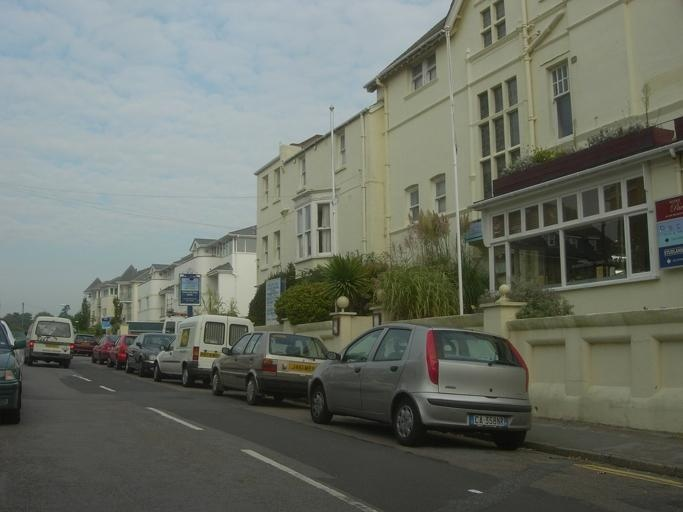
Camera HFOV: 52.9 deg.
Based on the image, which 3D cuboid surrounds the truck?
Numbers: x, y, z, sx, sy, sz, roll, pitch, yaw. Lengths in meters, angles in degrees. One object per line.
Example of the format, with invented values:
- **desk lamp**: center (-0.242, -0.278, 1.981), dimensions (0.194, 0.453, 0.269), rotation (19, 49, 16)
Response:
- **truck**: center (-4.985, 3.286, 24.015), dimensions (2.081, 1.869, 3.863), rotation (4, -8, -26)

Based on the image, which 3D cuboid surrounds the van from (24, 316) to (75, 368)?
- **van**: center (-14.154, 4.147, 33.496), dimensions (2.001, 2.391, 0.860), rotation (2, -9, -13)

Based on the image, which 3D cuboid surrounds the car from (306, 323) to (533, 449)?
- **car**: center (1.327, 2.335, 12.614), dimensions (3.880, 2.246, 1.597), rotation (-10, -13, 43)

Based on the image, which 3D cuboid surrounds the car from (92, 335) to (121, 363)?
- **car**: center (-13.331, 5.440, 39.386), dimensions (1.619, 1.527, 3.336), rotation (3, -4, -27)

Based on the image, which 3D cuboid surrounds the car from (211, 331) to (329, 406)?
- **car**: center (-2.013, 2.835, 18.461), dimensions (1.801, 1.285, 2.867), rotation (7, -7, -28)

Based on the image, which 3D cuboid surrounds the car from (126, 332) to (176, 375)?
- **car**: center (-8.344, 4.146, 29.459), dimensions (1.445, 1.184, 3.265), rotation (4, -13, -24)

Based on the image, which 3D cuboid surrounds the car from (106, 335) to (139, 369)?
- **car**: center (-10.678, 4.599, 33.608), dimensions (1.241, 1.205, 2.637), rotation (2, -4, -26)
